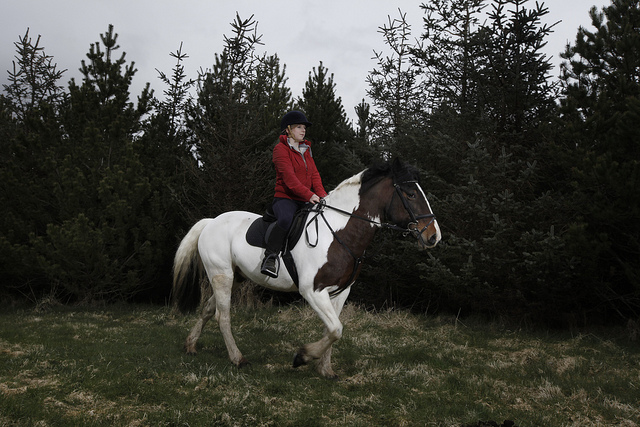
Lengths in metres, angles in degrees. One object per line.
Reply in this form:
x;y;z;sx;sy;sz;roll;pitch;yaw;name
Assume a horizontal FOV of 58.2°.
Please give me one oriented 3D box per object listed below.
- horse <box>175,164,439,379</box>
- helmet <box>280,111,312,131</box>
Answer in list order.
-0.340;0.999;10.838;4.968;3.901;1.082;4;7;20;horse
-0.474;-1.756;11.049;0.456;0.269;0.342;-4;4;16;helmet
